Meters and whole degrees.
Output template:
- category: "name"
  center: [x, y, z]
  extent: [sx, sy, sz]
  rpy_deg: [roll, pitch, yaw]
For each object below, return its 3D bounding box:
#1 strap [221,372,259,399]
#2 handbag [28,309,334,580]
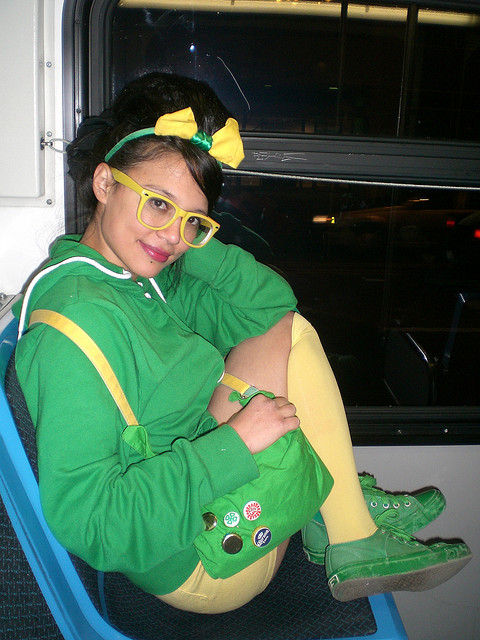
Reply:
- category: "strap"
  center: [-0.004, 0.136, 1.059]
  extent: [0.091, 0.004, 0.034]
  rpy_deg: [26, 70, 41]
- category: "handbag"
  center: [-0.090, 0.255, 0.928]
  extent: [0.322, 0.565, 0.385]
  rpy_deg: [10, 17, 23]
